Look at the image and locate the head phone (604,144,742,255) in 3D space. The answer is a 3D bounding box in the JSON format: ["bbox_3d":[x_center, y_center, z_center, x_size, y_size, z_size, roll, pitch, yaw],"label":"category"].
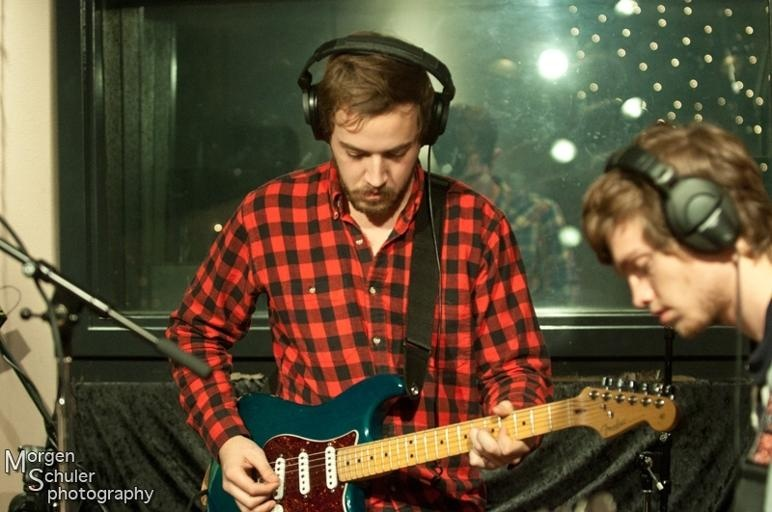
[{"bbox_3d":[1.012,-0.197,2.747,0.138,0.318,0.351,-38,-10,-3],"label":"head phone"}]
